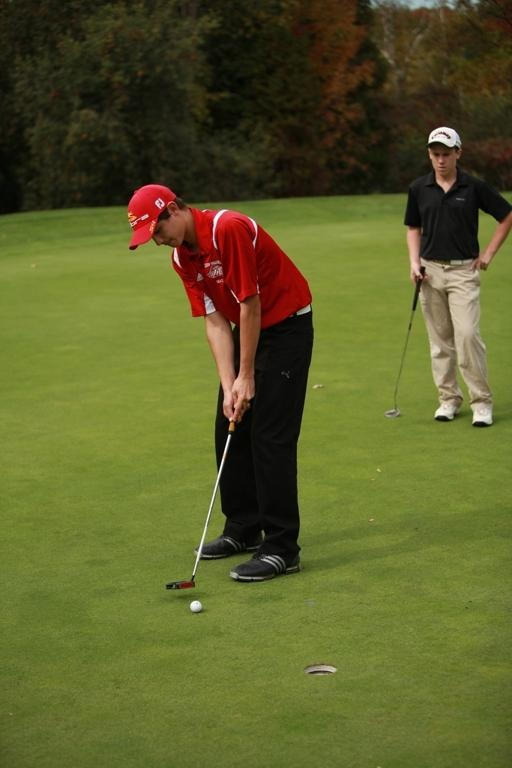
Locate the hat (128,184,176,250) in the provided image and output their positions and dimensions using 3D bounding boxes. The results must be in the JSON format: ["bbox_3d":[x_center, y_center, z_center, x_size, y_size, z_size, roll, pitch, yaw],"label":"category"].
[{"bbox_3d":[-0.361,-0.583,3.164,0.170,0.217,0.332,-3,12,-7],"label":"hat"}]

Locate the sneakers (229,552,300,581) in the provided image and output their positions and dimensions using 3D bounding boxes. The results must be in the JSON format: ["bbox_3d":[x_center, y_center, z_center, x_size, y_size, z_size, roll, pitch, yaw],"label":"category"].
[{"bbox_3d":[0.027,0.703,3.466,0.281,0.100,0.094,-4,10,-20],"label":"sneakers"}]

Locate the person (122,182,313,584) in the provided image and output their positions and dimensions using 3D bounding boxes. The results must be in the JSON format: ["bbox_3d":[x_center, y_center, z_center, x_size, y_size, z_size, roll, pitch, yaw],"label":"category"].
[{"bbox_3d":[-0.094,0.004,3.532,0.561,1.519,0.696,2,13,15],"label":"person"}]

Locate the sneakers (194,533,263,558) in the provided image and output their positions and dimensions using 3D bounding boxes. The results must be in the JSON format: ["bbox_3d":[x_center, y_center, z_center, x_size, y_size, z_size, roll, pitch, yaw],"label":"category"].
[{"bbox_3d":[-0.118,0.661,3.791,0.290,0.098,0.095,1,-1,-30],"label":"sneakers"}]

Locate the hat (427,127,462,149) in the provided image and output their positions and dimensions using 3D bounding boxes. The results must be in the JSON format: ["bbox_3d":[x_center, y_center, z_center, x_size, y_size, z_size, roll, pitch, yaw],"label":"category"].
[{"bbox_3d":[1.107,-1.463,5.352,0.156,0.107,0.231,7,-2,27],"label":"hat"}]

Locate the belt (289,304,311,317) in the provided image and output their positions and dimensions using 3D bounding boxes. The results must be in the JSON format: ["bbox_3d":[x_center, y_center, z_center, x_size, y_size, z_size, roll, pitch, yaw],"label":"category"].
[{"bbox_3d":[0.170,-0.291,3.520,0.062,0.020,0.043,-22,2,-31],"label":"belt"}]

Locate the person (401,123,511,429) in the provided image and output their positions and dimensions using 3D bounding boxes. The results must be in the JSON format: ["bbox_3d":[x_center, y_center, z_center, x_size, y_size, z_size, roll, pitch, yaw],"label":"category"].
[{"bbox_3d":[1.211,-0.651,5.590,0.641,1.767,0.529,2,14,16],"label":"person"}]
